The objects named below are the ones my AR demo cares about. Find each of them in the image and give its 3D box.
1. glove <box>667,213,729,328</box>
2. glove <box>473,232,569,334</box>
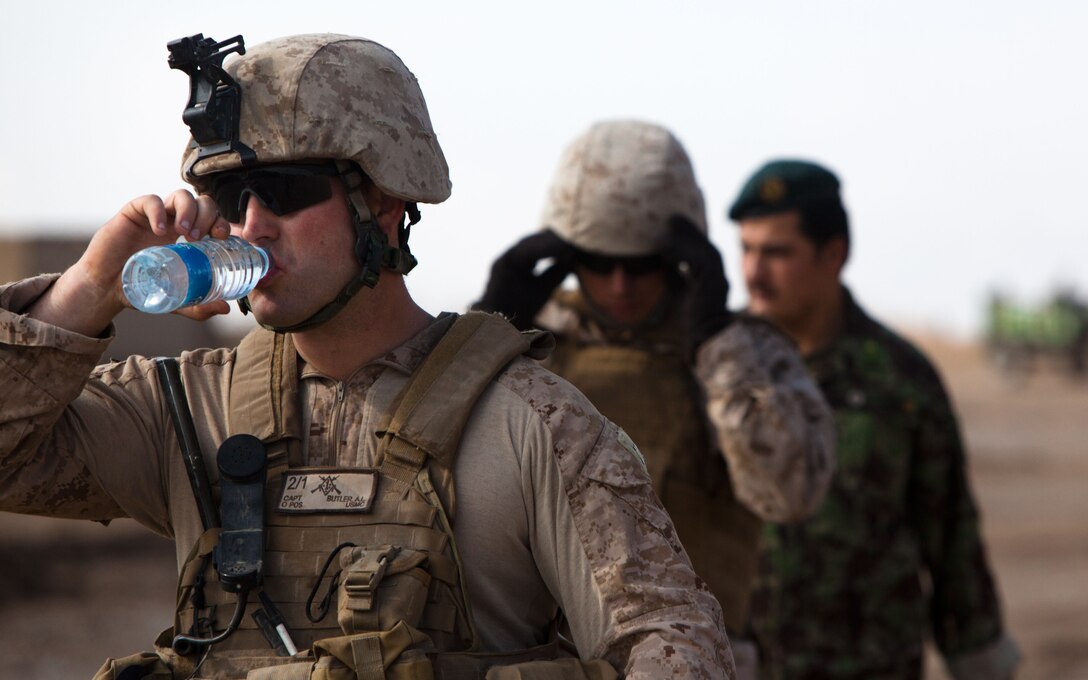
[{"bbox_3d":[0.741,-0.311,7.296,0.166,0.487,0.319,-6,11,-44],"label":"glove"},{"bbox_3d":[-0.094,-0.295,7.588,0.424,0.533,0.167,41,19,35],"label":"glove"}]
